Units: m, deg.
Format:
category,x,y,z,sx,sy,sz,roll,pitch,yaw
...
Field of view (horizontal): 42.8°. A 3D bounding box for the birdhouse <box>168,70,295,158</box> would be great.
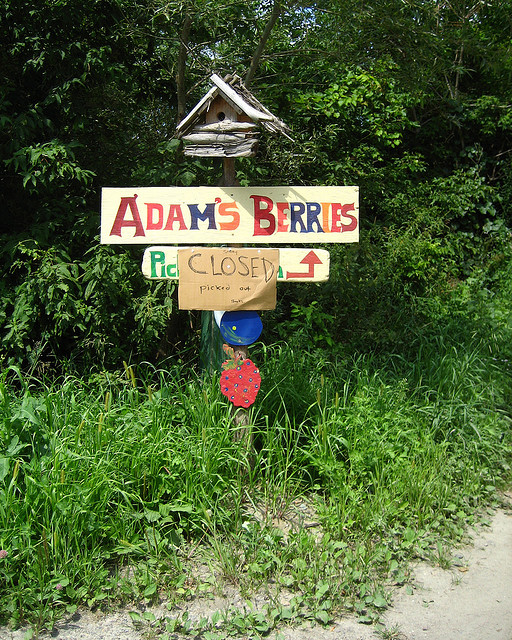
category,x,y,z,sx,sy,sz,roll,pitch,yaw
birdhouse,-0.171,-1.161,3.737,0.558,0.463,0.289,5,8,17
